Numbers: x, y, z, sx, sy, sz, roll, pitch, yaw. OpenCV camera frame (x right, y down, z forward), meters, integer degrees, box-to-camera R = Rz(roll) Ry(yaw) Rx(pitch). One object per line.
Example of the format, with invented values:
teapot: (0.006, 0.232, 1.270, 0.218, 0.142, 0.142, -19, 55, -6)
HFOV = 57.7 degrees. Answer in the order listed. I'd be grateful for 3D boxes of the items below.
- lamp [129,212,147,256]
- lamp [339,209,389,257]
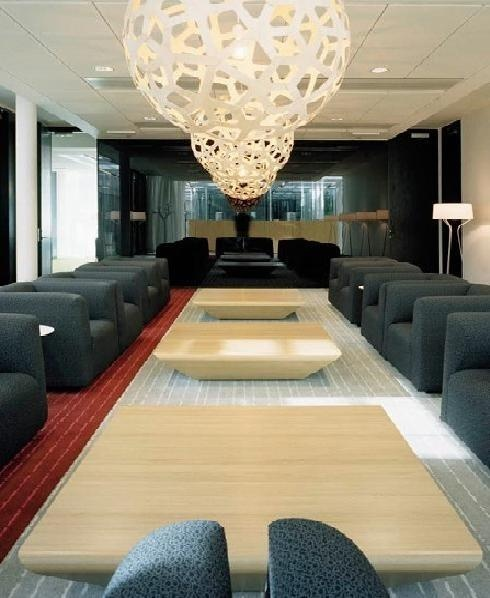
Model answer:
lamp: (-2.512, -1.453, 10.310, 0.315, 0.697, 0.299, -14, 5, 16)
lamp: (2.703, -1.518, 9.919, 1.079, 0.986, 0.508, 0, 8, 6)
